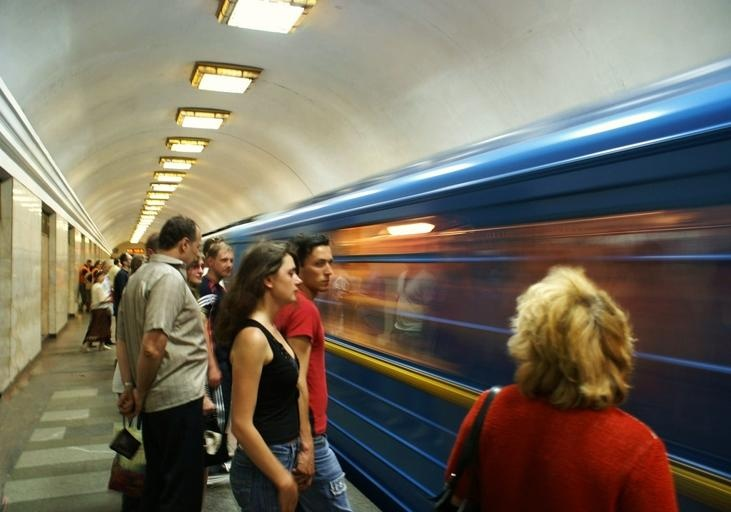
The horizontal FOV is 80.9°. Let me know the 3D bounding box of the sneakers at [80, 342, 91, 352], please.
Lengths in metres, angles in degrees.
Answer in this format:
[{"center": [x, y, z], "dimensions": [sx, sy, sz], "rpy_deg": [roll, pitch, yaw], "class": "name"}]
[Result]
[{"center": [-7.655, 2.539, 11.835], "dimensions": [0.258, 0.262, 0.128], "rpy_deg": [5, -34, 17], "class": "sneakers"}]
